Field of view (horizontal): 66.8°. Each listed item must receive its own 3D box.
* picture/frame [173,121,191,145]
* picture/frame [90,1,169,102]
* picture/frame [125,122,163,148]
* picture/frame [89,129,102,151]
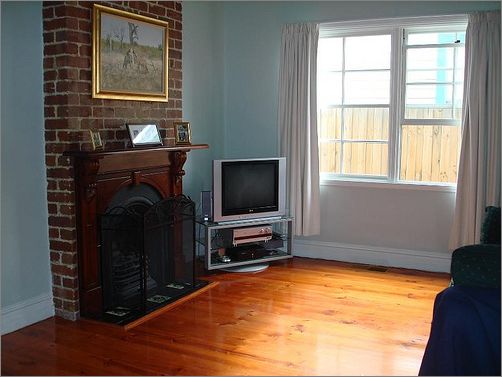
[{"bbox_3d":[-0.724,-0.577,3.979,0.032,0.315,0.261,-5,-3,42],"label":"picture/frame"},{"bbox_3d":[-1.088,-1.215,3.531,0.118,0.796,0.884,4,10,27],"label":"picture/frame"},{"bbox_3d":[-1.003,-0.508,3.591,0.116,0.221,0.390,4,10,25],"label":"picture/frame"},{"bbox_3d":[-1.288,-0.403,3.193,0.092,0.152,0.116,-6,11,-36],"label":"picture/frame"}]
